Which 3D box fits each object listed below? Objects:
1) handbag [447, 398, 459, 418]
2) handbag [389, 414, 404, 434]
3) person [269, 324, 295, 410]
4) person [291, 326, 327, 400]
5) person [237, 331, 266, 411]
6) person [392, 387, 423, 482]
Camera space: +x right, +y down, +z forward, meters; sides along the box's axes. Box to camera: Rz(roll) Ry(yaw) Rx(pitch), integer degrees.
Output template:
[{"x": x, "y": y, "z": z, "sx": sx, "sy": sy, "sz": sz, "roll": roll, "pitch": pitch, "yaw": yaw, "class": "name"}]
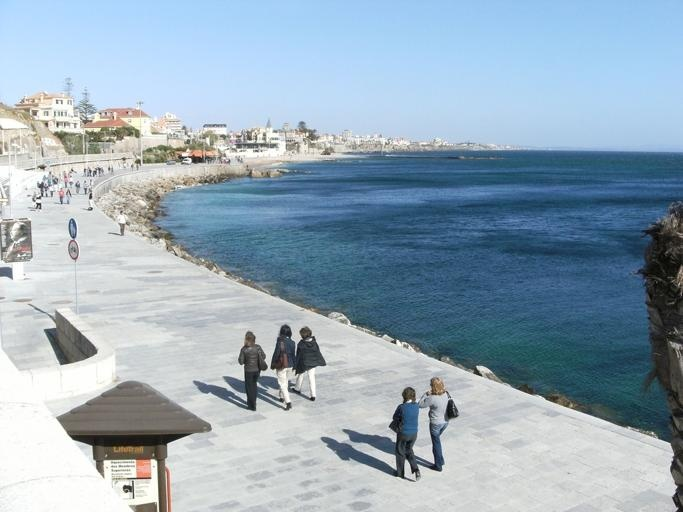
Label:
[{"x": 1.712, "y": 2.374, "z": 9.805, "sx": 0.169, "sy": 0.368, "sz": 0.327, "roll": 5, "pitch": 14, "yaw": 10, "class": "handbag"}, {"x": 0.802, "y": 2.530, "z": 9.486, "sx": 0.212, "sy": 0.286, "sz": 0.088, "roll": 13, "pitch": 19, "yaw": 38, "class": "handbag"}, {"x": -1.119, "y": 2.040, "z": 11.990, "sx": 0.451, "sy": 1.472, "sz": 1.081, "roll": 1, "pitch": 14, "yaw": -5, "class": "person"}, {"x": -0.650, "y": 1.993, "z": 12.316, "sx": 0.581, "sy": 1.465, "sz": 1.061, "roll": 1, "pitch": 14, "yaw": -3, "class": "person"}, {"x": -1.670, "y": 2.095, "z": 11.777, "sx": 0.479, "sy": 1.438, "sz": 0.732, "roll": 0, "pitch": 15, "yaw": -8, "class": "person"}, {"x": 0.984, "y": 2.633, "z": 9.560, "sx": 0.517, "sy": 1.342, "sz": 0.647, "roll": 3, "pitch": 15, "yaw": 4, "class": "person"}]
